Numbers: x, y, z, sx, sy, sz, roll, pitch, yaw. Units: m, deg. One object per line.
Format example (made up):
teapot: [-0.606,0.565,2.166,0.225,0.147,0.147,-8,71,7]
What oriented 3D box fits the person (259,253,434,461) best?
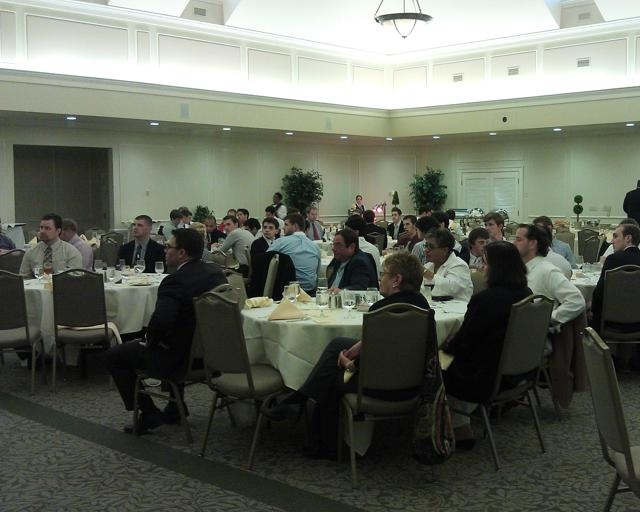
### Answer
person: [0.198,0.685,3.485,0.958,1.397,0.432,1,6,23]

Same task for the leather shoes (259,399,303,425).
leather shoes: [-0.301,1.023,3.620,0.280,0.156,0.351,8,-13,-43]

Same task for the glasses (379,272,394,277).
glasses: [0.444,0.122,3.607,0.100,0.033,0.102,0,2,-43]

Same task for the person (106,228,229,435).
person: [-1.207,0.599,4.203,0.854,1.695,0.739,5,7,14]
